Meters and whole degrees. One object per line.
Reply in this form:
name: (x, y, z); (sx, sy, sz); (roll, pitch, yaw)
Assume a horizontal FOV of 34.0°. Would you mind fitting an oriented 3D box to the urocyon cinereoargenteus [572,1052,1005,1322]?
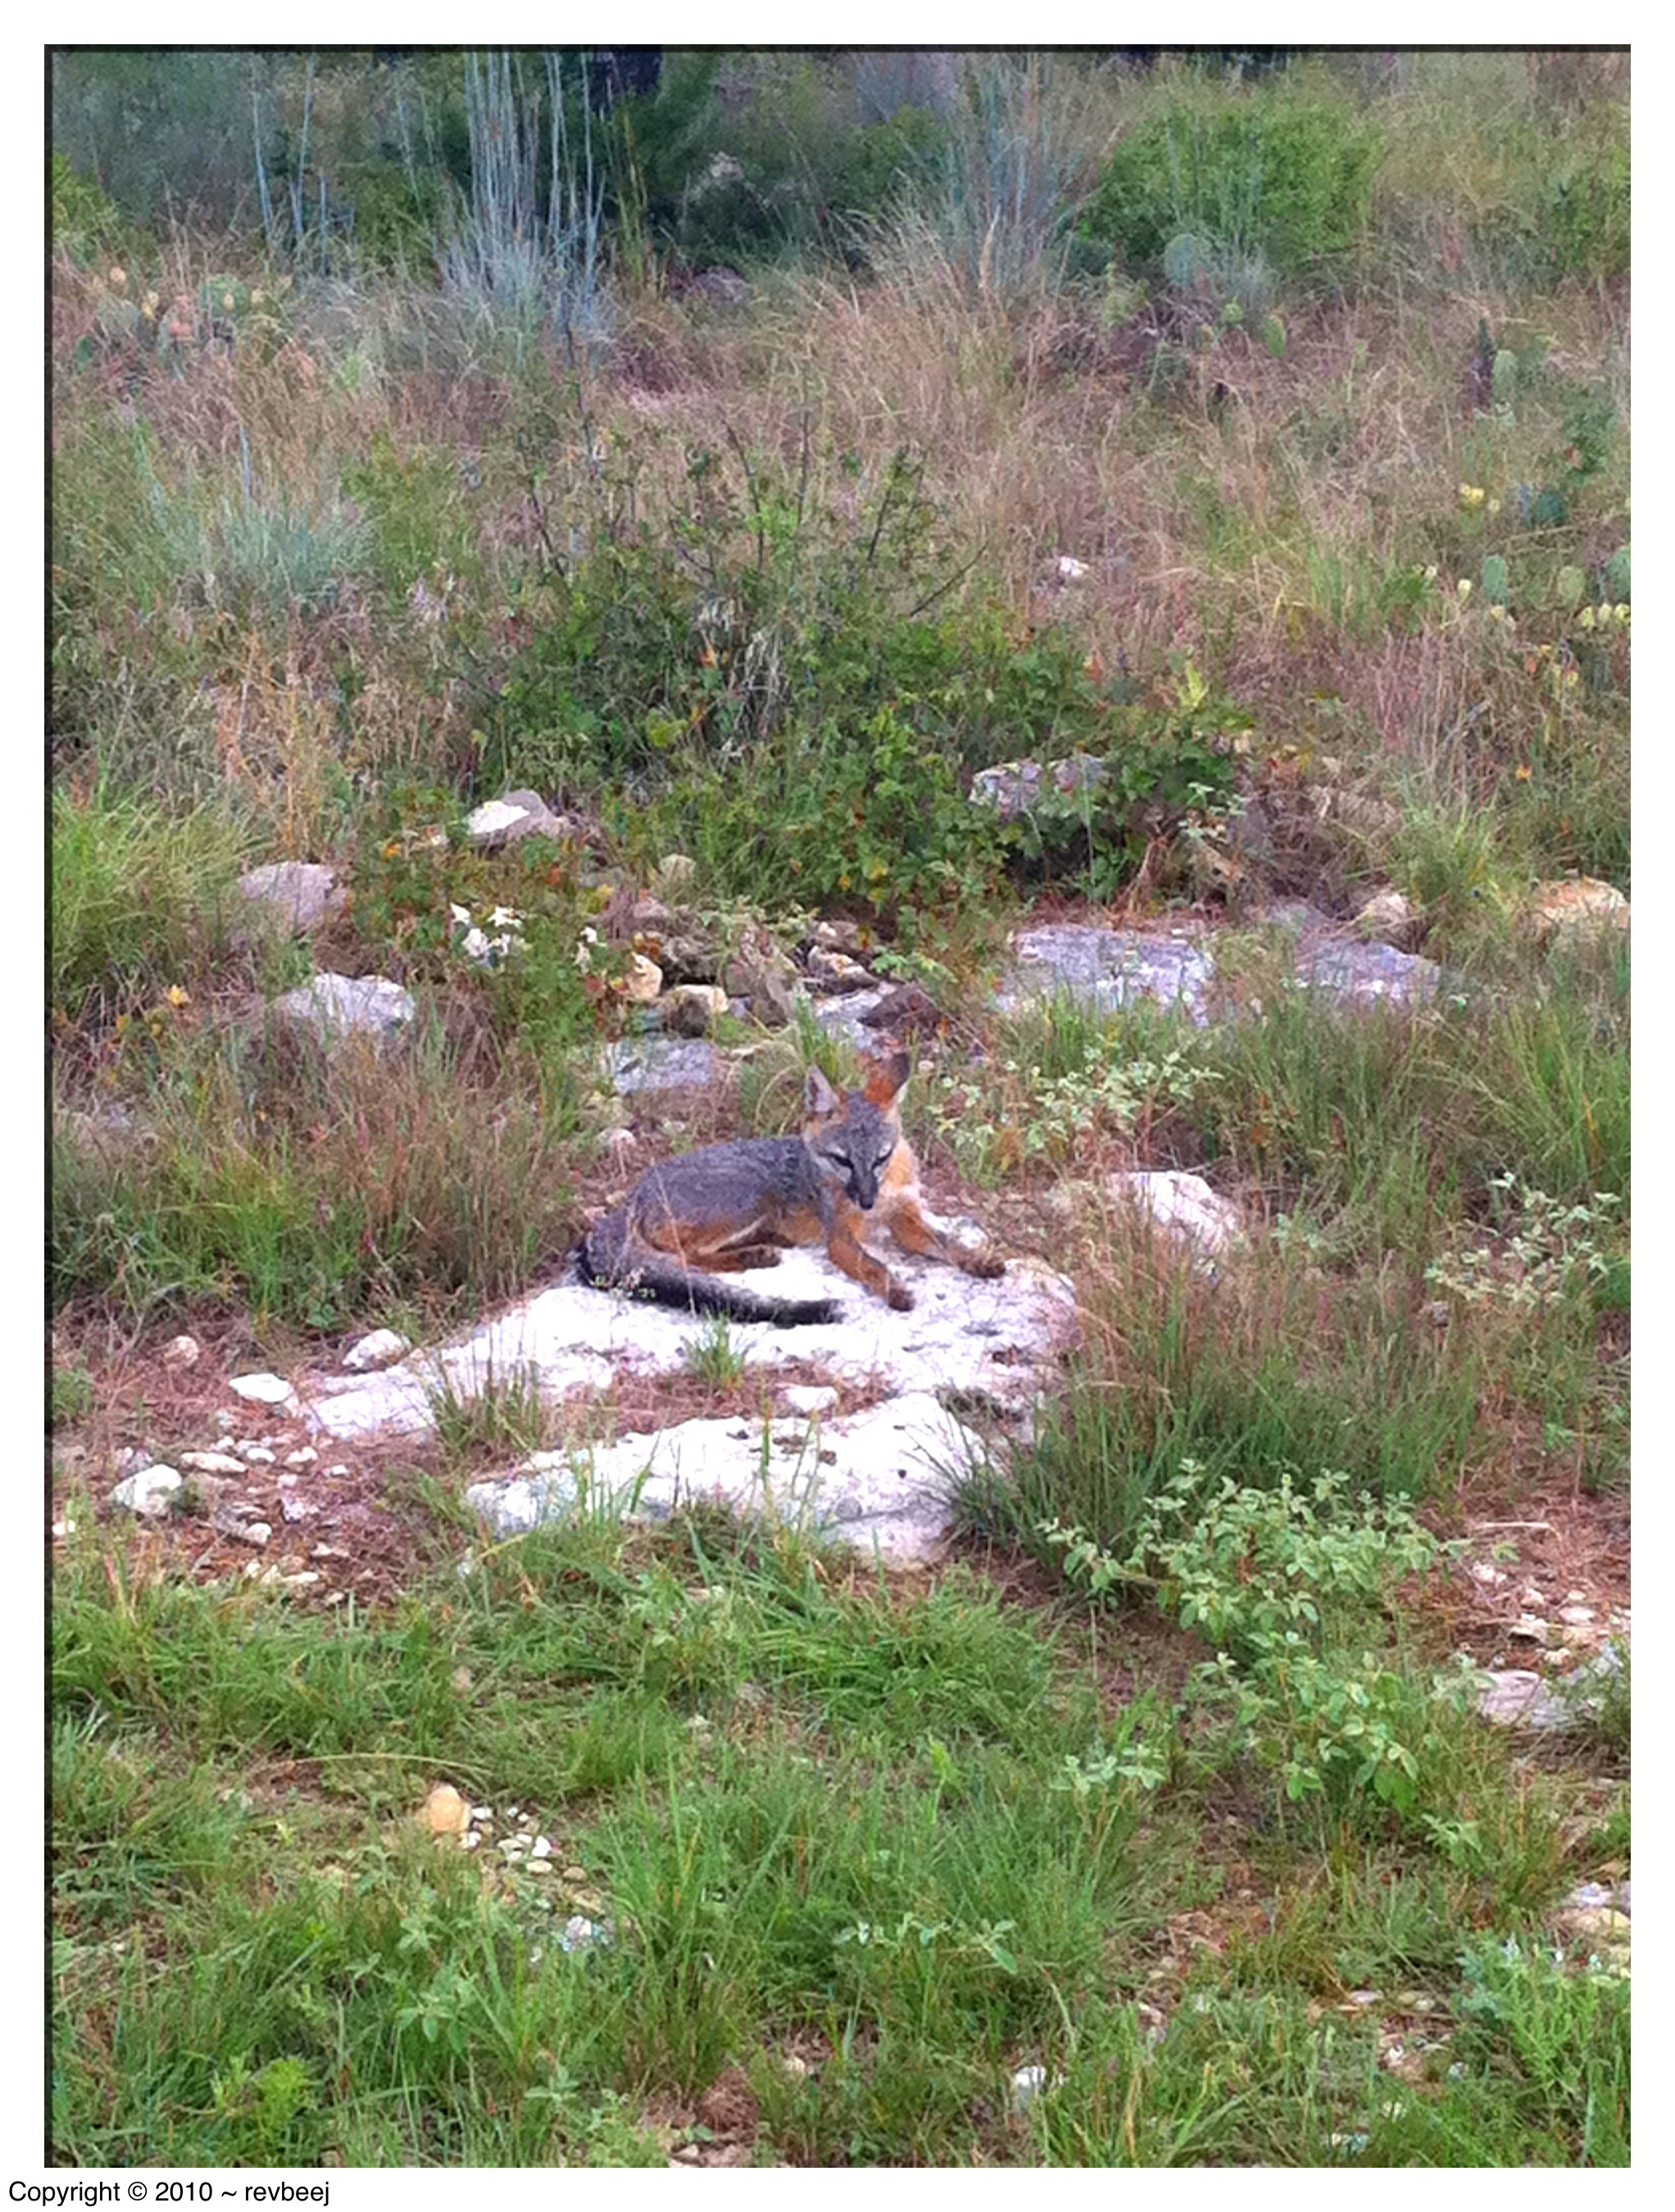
urocyon cinereoargenteus: (-0.181, 0.236, 6.249); (0.599, 0.572, 0.734); (9, 9, 34)
